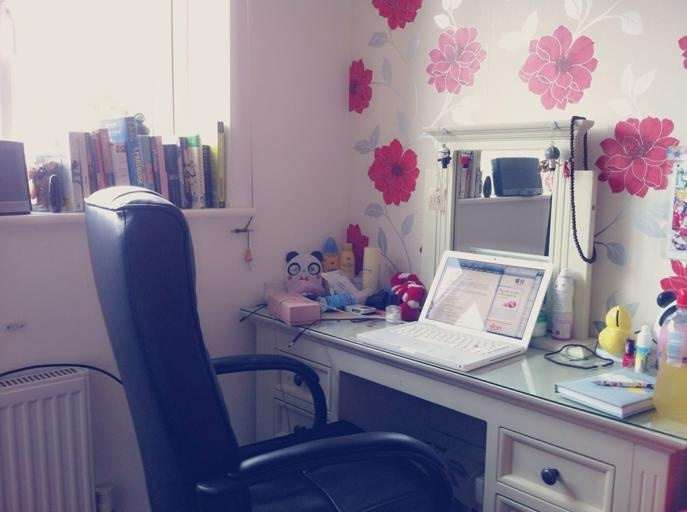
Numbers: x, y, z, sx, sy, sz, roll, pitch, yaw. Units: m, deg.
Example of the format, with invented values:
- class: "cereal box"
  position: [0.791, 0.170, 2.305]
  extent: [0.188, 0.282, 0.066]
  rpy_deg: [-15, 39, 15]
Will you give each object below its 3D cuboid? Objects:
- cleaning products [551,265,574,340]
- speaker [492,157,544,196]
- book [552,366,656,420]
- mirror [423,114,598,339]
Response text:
- class: "cleaning products"
  position: [0.794, 0.178, 1.983]
  extent: [0.063, 0.248, 0.064]
  rpy_deg: [3, 12, 21]
- class: "speaker"
  position: [0.673, -0.303, 2.124]
  extent: [0.180, 0.181, 0.143]
  rpy_deg: [-1, 0, 23]
- class: "book"
  position: [0.759, 0.384, 1.563]
  extent: [0.150, 0.032, 0.151]
  rpy_deg: [-7, 7, -38]
- class: "mirror"
  position: [0.661, -0.103, 2.090]
  extent: [0.135, 0.980, 0.804]
  rpy_deg: [-4, 6, -45]
